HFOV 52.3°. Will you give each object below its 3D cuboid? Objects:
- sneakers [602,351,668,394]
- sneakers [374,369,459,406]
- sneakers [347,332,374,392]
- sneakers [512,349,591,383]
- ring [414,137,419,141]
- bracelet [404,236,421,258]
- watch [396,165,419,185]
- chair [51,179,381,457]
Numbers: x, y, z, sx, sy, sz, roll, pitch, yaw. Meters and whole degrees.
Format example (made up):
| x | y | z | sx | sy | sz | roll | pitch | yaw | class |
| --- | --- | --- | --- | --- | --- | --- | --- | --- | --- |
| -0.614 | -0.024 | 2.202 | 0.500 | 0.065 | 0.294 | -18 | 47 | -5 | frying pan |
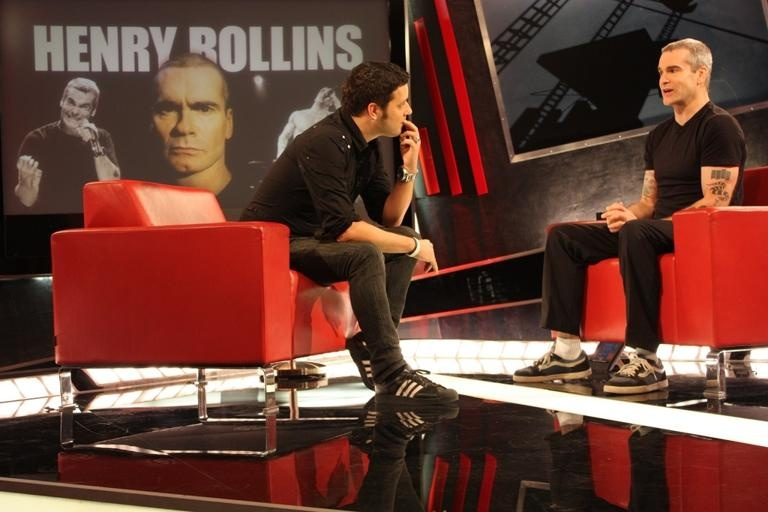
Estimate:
| x | y | z | sx | sy | sz | roll | pitch | yaw | class |
| --- | --- | --- | --- | --- | --- | --- | --- | --- | --- |
| 1.218 | 0.561 | 3.794 | 0.460 | 0.180 | 0.194 | 2 | -5 | -43 | sneakers |
| 0.141 | 0.595 | 3.552 | 0.381 | 0.133 | 0.153 | 1 | -1 | -1 | sneakers |
| -0.112 | 0.508 | 3.923 | 0.124 | 0.316 | 0.137 | -15 | -4 | 1 | sneakers |
| 0.870 | 0.582 | 4.097 | 0.468 | 0.164 | 0.141 | 1 | -3 | -1 | sneakers |
| 0.163 | -0.593 | 3.961 | 0.030 | 0.011 | 0.036 | 0 | -1 | 1 | ring |
| 0.119 | -0.046 | 3.668 | 0.036 | 0.078 | 0.069 | 13 | 40 | -15 | bracelet |
| 0.113 | -0.411 | 4.002 | 0.105 | 0.086 | 0.072 | 8 | -14 | -26 | watch |
| -0.659 | 0.250 | 3.757 | 1.047 | 1.105 | 1.344 | -1 | -1 | 20 | chair |
